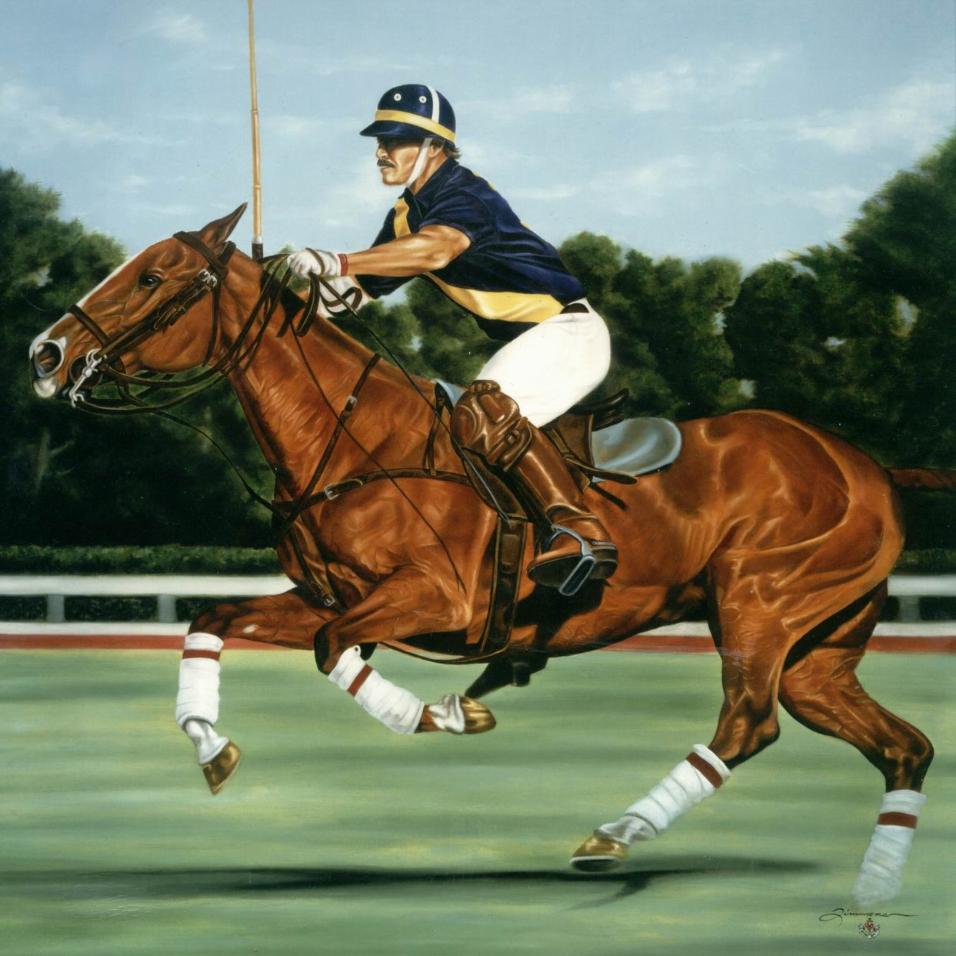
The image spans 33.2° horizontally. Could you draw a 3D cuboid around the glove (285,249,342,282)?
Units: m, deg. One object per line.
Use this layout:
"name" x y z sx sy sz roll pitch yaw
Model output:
"glove" -0.615 -0.809 6.006 0.208 0.102 0.257 2 3 -8
